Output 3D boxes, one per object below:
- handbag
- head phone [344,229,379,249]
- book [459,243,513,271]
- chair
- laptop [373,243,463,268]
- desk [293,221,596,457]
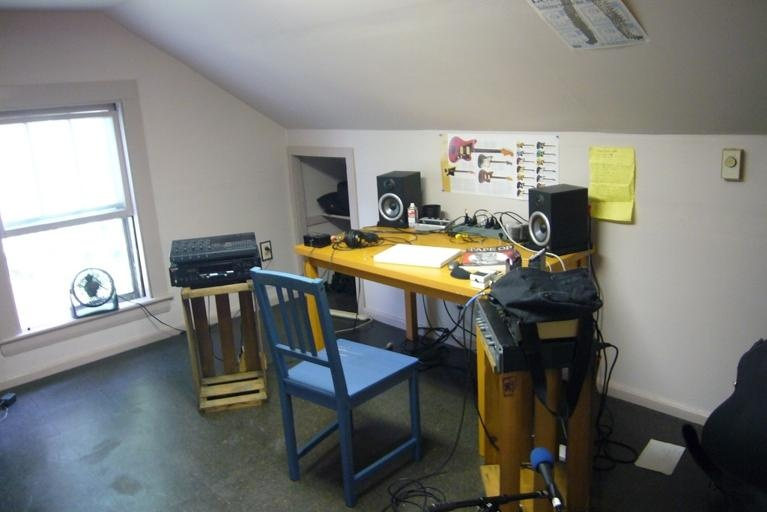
[{"bbox_3d":[0.697,0.323,2.603,0.451,0.495,0.531,1,16,3],"label":"handbag"},{"bbox_3d":[-0.146,-0.108,3.721,0.111,0.081,0.186,4,0,37],"label":"head phone"},{"bbox_3d":[0.579,0.012,3.297,0.326,0.078,0.362,1,12,16],"label":"book"},{"bbox_3d":[-0.268,0.781,3.319,0.740,1.421,0.839,13,27,36],"label":"chair"},{"bbox_3d":[0.184,-0.001,3.444,0.300,0.030,0.216,5,19,27],"label":"laptop"},{"bbox_3d":[0.337,0.361,3.693,1.400,0.802,0.856,7,20,42],"label":"desk"}]
